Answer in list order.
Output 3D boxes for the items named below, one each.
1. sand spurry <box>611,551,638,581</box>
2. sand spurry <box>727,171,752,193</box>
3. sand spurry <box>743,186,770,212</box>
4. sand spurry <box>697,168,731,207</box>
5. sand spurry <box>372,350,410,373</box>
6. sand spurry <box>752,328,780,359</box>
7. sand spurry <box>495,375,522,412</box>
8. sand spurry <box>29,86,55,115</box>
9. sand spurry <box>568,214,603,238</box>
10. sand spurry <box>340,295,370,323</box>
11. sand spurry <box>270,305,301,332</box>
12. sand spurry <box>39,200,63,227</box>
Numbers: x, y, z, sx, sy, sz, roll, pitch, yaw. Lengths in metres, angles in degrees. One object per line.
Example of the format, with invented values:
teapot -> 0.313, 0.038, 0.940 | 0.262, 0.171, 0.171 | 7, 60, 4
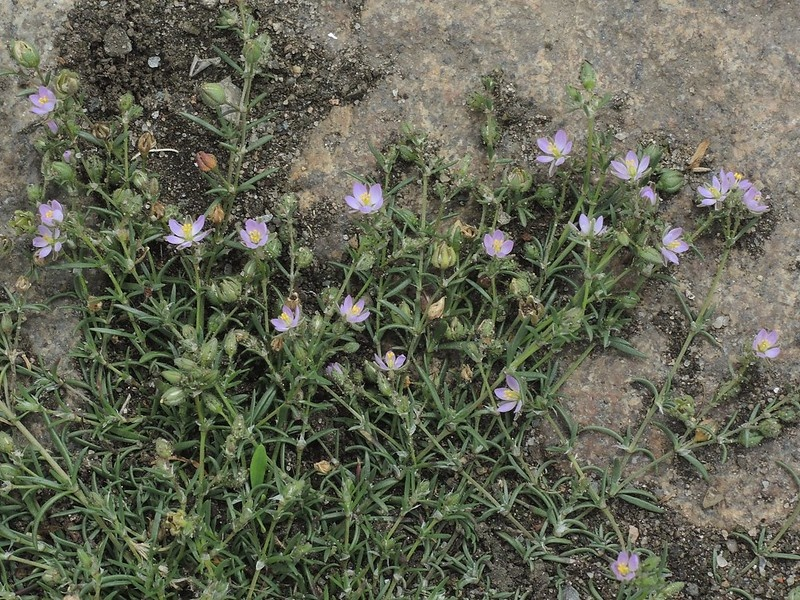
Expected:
sand spurry -> 1.086, 1.275, 3.942 | 0.119, 0.048, 0.145 | 4, 78, 26
sand spurry -> 1.779, -0.609, 4.310 | 0.091, 0.053, 0.108 | 3, 42, -29
sand spurry -> 1.871, -0.519, 4.316 | 0.076, 0.092, 0.128 | -28, 72, 32
sand spurry -> 1.655, -0.576, 4.314 | 0.179, 0.107, 0.199 | -26, 73, 23
sand spurry -> -0.045, 0.297, 4.181 | 0.122, 0.089, 0.114 | -13, 30, -20
sand spurry -> 1.880, 0.241, 4.244 | 0.127, 0.078, 0.162 | 19, 86, 1
sand spurry -> 0.576, 0.483, 4.147 | 0.087, 0.180, 0.177 | 24, 60, -25
sand spurry -> -1.803, -0.992, 4.180 | 0.116, 0.096, 0.168 | -10, 92, -4
sand spurry -> 0.955, -0.350, 4.139 | 0.127, 0.155, 0.078 | 3, 92, -15
sand spurry -> -0.217, 0.030, 4.099 | 0.118, 0.075, 0.144 | 41, 57, -11
sand spurry -> -0.544, 0.094, 3.975 | 0.082, 0.131, 0.122 | 20, 49, -41
sand spurry -> -1.725, -0.424, 4.077 | 0.103, 0.062, 0.149 | 4, 85, -8
